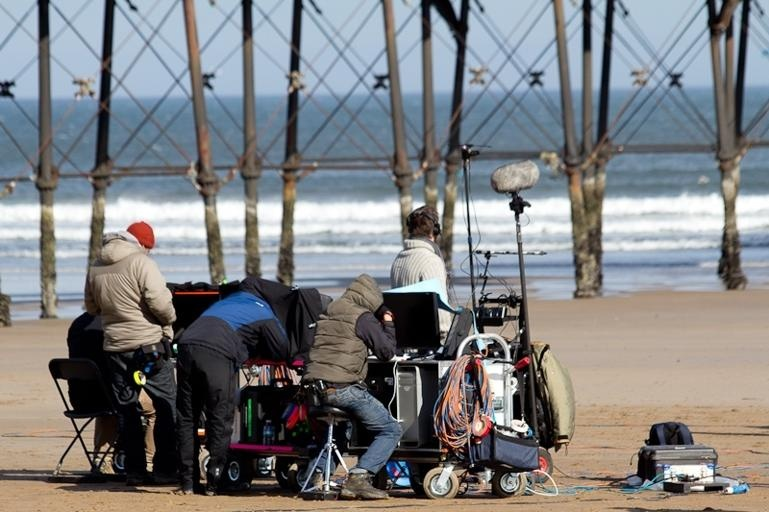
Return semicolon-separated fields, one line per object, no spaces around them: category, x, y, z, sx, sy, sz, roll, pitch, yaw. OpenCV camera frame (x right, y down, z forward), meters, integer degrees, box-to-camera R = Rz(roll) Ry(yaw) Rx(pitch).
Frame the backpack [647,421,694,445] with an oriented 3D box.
backpack;6.761;4.245;54.008;1.111;0.562;0.400;-3;-5;5

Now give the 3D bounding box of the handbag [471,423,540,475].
handbag;2.792;4.573;53.502;1.582;1.044;0.237;-2;-5;1

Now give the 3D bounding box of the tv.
tv;0.492;1.536;53.557;1.573;1.361;0.371;-2;9;5

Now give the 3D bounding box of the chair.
chair;-7.034;3.960;54.466;1.414;2.896;4.491;1;-1;-3

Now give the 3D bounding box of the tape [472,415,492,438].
tape;2.275;4.011;53.405;0.421;0.517;0.192;13;-6;9

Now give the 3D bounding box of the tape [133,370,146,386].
tape;-5.788;2.881;53.811;0.337;0.338;0.088;-47;21;-30

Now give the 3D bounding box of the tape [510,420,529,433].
tape;3.169;4.026;53.644;0.272;0.114;0.352;7;23;-35

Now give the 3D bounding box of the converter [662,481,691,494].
converter;6.886;5.481;53.667;0.654;0.319;0.088;-4;-5;17

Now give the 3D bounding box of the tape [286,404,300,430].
tape;-2.193;3.781;53.821;0.252;0.169;0.739;-2;-46;-8
